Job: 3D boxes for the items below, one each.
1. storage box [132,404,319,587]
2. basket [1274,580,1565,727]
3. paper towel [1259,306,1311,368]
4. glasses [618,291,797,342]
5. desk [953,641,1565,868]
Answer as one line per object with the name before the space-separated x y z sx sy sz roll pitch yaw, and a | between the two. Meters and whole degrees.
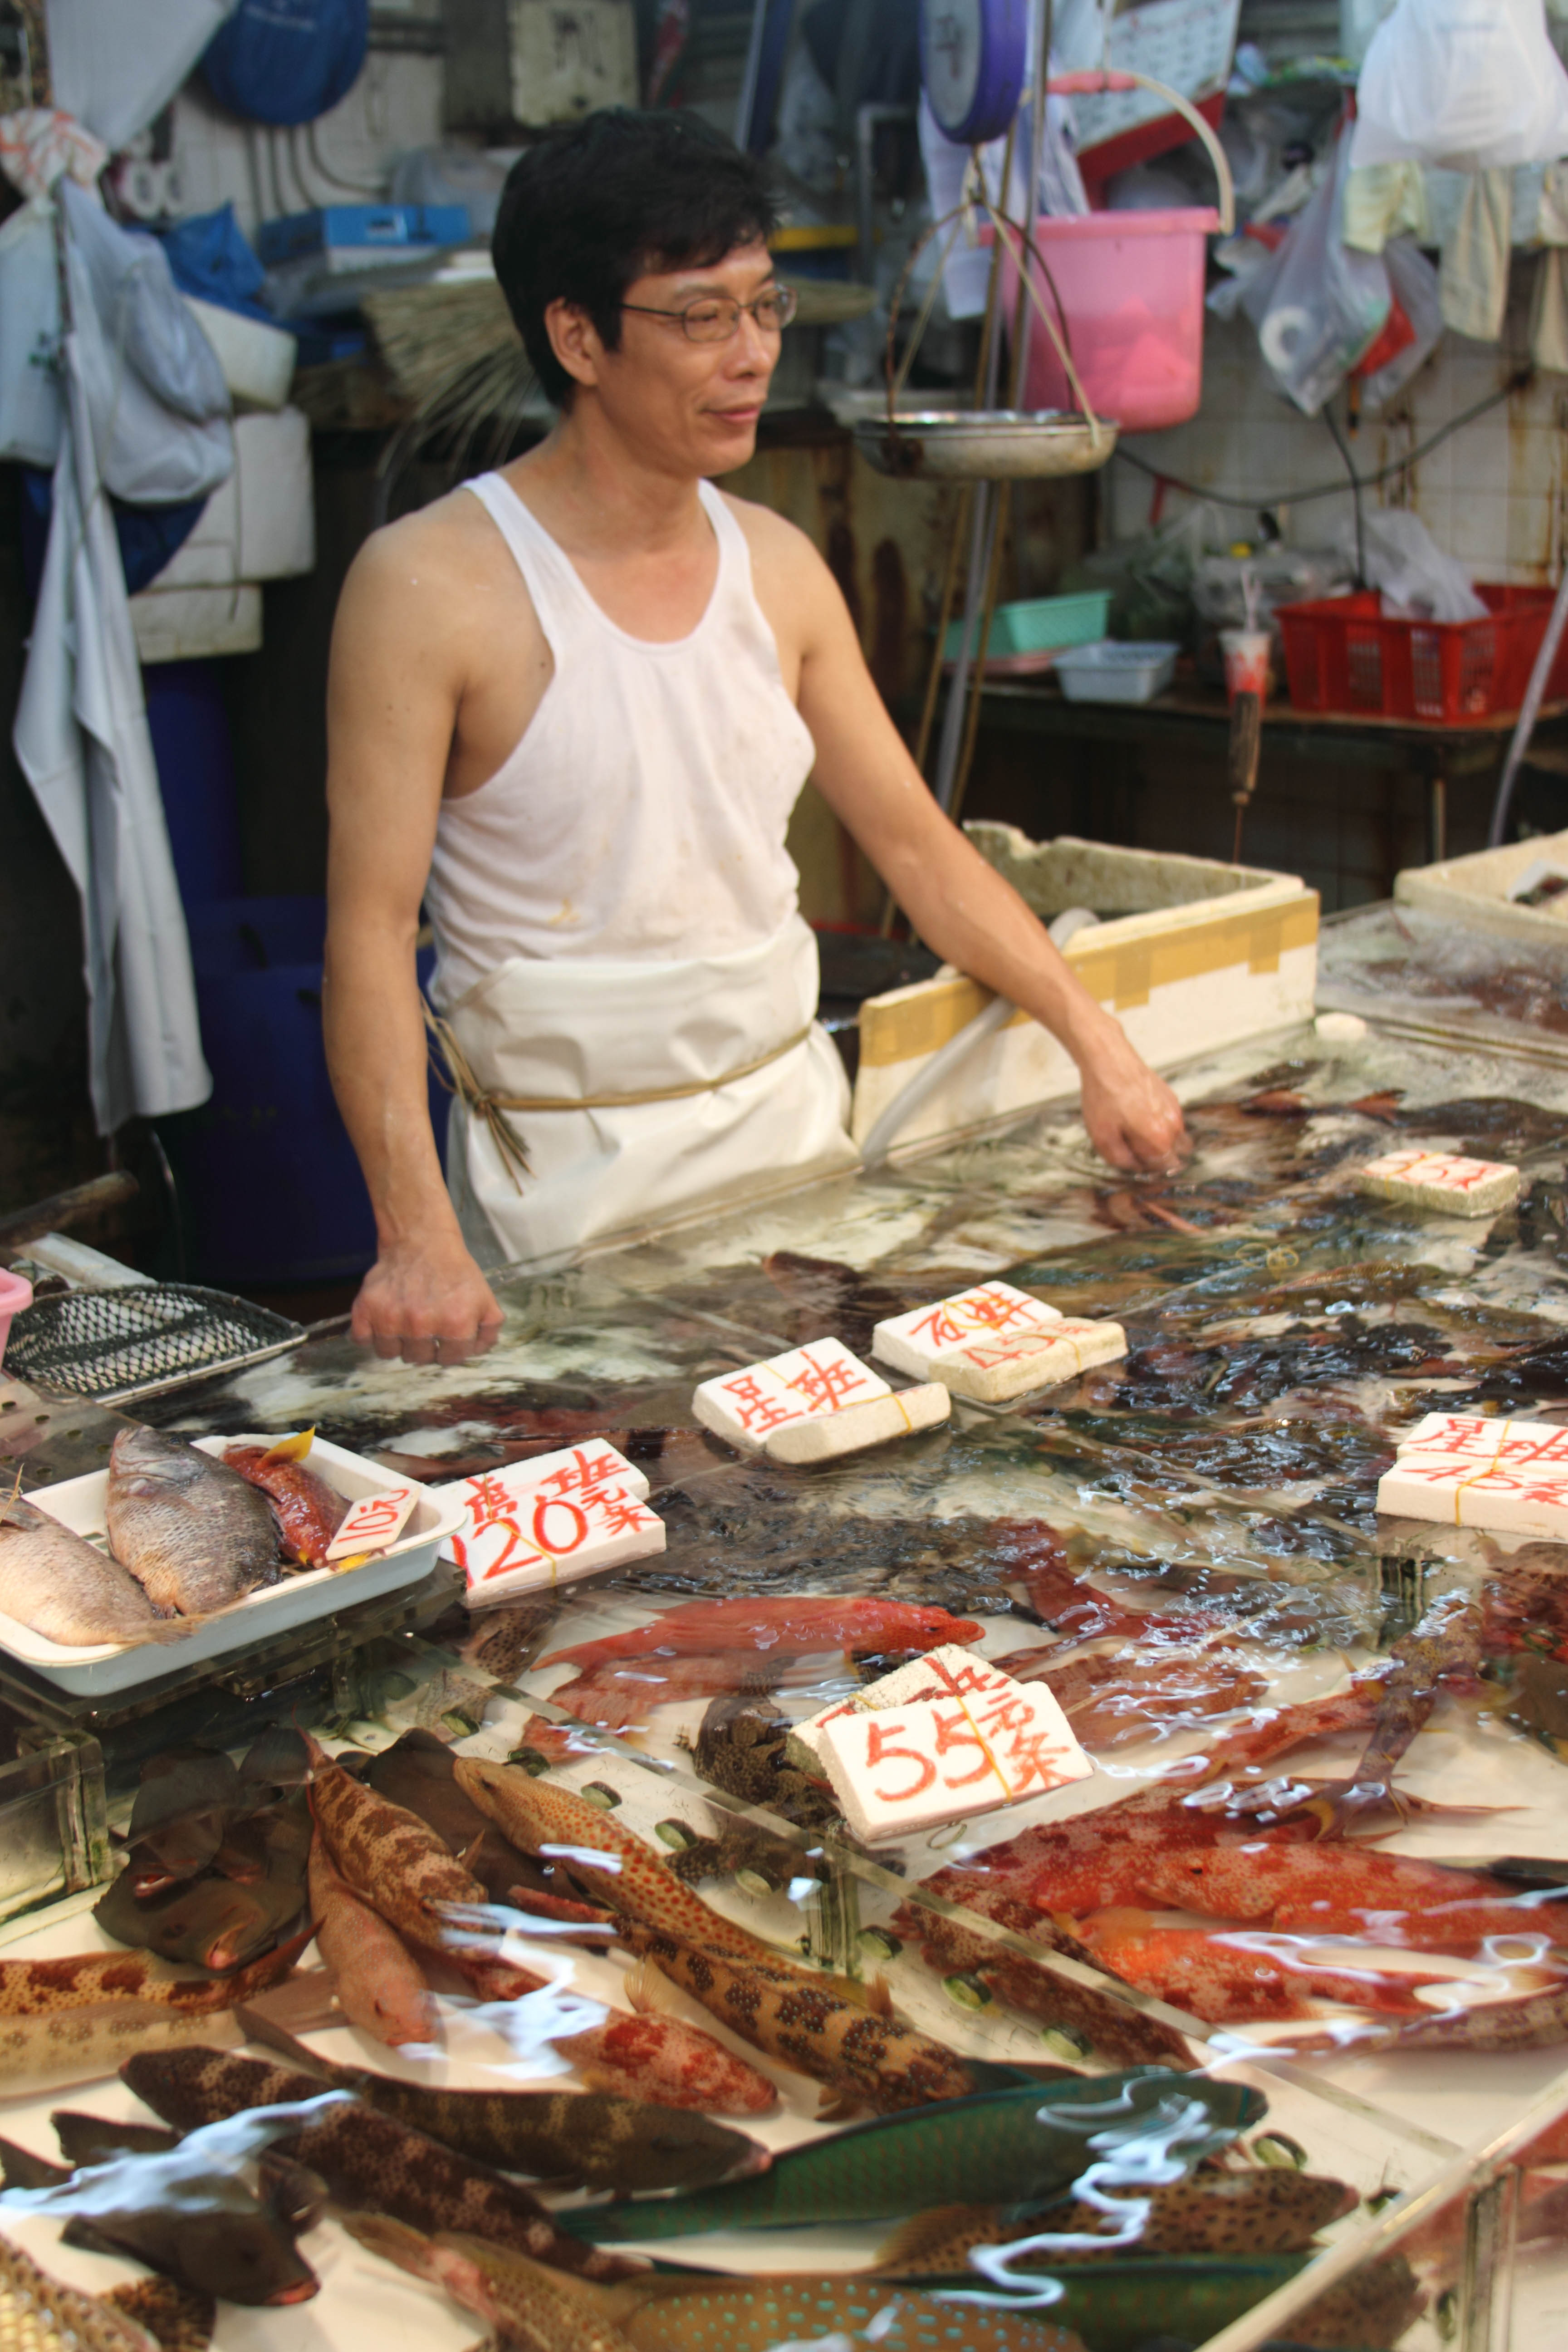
storage box | -1.026 -1.296 4.112 0.137 0.354 0.423 5 11 16
basket | 1.478 -1.158 4.747 0.414 0.175 0.528 15 29 34
paper towel | 1.120 -1.891 4.833 0.056 0.124 0.151 -6 13 -37
glasses | -0.073 -0.781 1.946 0.146 0.057 0.037 -3 12 -28
desk | 1.078 -0.945 4.709 0.990 0.235 0.594 18 44 24
